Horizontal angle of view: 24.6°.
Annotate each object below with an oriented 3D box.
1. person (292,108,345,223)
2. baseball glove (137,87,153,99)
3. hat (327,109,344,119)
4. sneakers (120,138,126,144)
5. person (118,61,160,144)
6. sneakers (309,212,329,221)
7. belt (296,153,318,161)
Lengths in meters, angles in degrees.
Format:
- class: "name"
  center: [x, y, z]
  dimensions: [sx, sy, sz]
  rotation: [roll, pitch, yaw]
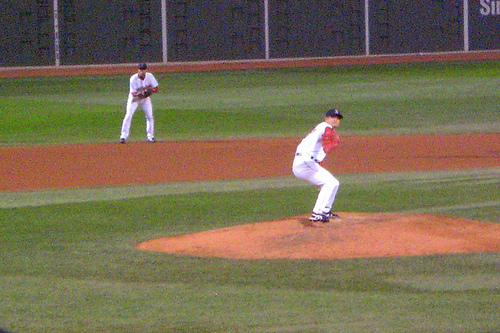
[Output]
- class: "person"
  center: [1.398, -0.028, 23.004]
  dimensions: [0.937, 2.268, 0.573]
  rotation: [0, 5, 4]
- class: "baseball glove"
  center: [-2.267, -1.590, 24.627]
  dimensions: [0.320, 0.193, 0.163]
  rotation: [-26, 16, 5]
- class: "hat"
  center: [1.715, -1.068, 22.969]
  dimensions: [0.306, 0.193, 0.268]
  rotation: [0, 5, 3]
- class: "sneakers"
  center: [-2.764, -0.584, 24.943]
  dimensions: [0.123, 0.120, 0.082]
  rotation: [10, 37, -28]
- class: "person"
  center: [-2.375, -1.380, 24.842]
  dimensions: [0.846, 1.720, 0.785]
  rotation: [-3, 6, -31]
- class: "sneakers"
  center: [1.420, 1.001, 22.927]
  dimensions: [0.283, 0.109, 0.181]
  rotation: [3, 3, 7]
- class: "belt"
  center: [1.157, -0.192, 22.880]
  dimensions: [0.430, 0.147, 0.089]
  rotation: [1, 5, 14]
